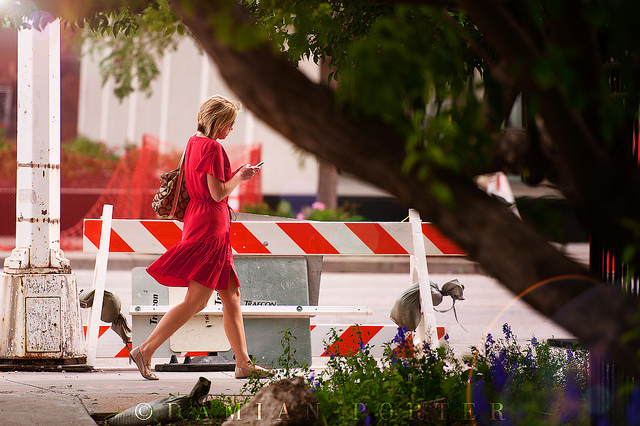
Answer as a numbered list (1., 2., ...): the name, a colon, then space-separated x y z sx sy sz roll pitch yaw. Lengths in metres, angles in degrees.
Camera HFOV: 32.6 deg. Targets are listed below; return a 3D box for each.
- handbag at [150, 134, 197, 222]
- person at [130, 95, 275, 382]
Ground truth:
1. handbag: -1.165 -0.292 9.046 0.364 0.730 0.294 12 -4 -32
2. person: -0.939 0.194 8.836 0.964 2.322 0.499 2 -7 -4
